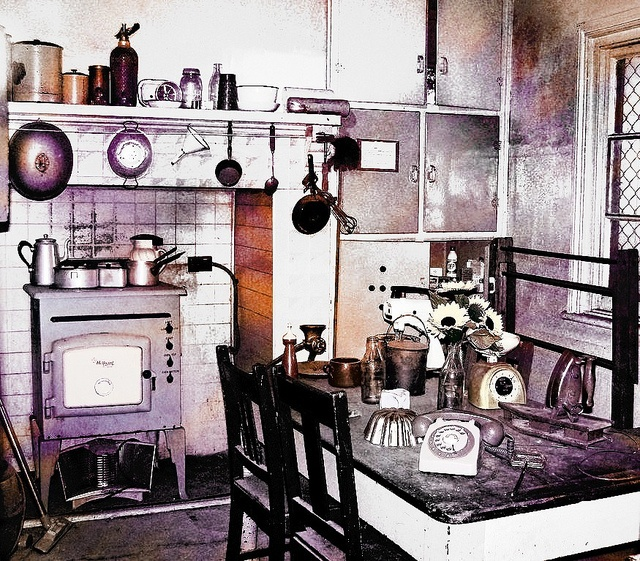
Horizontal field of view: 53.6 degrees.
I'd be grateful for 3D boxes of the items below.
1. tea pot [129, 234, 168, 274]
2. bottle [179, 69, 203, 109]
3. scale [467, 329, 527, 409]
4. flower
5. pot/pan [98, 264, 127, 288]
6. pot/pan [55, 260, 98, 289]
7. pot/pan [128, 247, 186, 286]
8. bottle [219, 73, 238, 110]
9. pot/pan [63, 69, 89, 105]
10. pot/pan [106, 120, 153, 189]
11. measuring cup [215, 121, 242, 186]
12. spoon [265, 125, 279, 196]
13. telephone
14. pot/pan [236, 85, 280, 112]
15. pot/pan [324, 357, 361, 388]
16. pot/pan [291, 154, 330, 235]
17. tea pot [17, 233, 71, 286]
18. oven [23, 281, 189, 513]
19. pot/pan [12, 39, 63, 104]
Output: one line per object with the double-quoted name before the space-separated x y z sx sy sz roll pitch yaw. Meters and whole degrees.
"tea pot" -0.980 -0.149 3.610 0.248 0.277 0.195 1 0 -6
"bottle" -0.702 -1.038 3.427 0.114 0.207 0.117 7 25 -3
"scale" 0.751 0.363 2.496 0.189 0.262 0.187 -12 -10 43
"flower" 0.557 0.160 2.496 0.258 0.295 0.248 4 23 -18
"pot/pan" -1.102 -0.022 3.361 0.113 0.080 0.118 1 -3 -22
"pot/pan" -1.303 -0.026 3.336 0.177 0.119 0.179 0 -1 35
"pot/pan" -0.909 -0.057 3.553 0.289 0.228 0.224 2 -1 2
"bottle" -0.500 -1.013 3.413 0.109 0.192 0.122 -1 13 -8
"pot/pan" -1.242 -0.973 3.209 0.134 0.161 0.136 -4 14 -21
"pot/pan" -0.984 -0.633 3.286 0.212 0.333 0.084 1 1 -13
"measuring cup" -0.491 -0.663 3.419 0.103 0.073 0.271 0 -34 -10
"spoon" -0.266 -0.664 3.506 0.074 0.388 0.128 2 13 3
"telephone" 0.402 0.495 1.985 0.286 0.140 0.297 4 11 41
"pot/pan" -0.344 -1.000 3.479 0.147 0.148 0.237 12 17 37
"pot/pan" 0.097 0.405 2.806 0.132 0.086 0.104 0 0 -10
"pot/pan" -0.044 -0.483 3.612 0.141 0.459 0.215 9 15 31
"tea pot" -1.524 -0.106 3.458 0.252 0.267 0.147 0 10 -12
"oven" -1.237 0.595 3.480 0.805 1.124 0.662 2 -2 -43
"pot/pan" -1.453 -1.070 3.219 0.243 0.301 0.253 13 17 28
